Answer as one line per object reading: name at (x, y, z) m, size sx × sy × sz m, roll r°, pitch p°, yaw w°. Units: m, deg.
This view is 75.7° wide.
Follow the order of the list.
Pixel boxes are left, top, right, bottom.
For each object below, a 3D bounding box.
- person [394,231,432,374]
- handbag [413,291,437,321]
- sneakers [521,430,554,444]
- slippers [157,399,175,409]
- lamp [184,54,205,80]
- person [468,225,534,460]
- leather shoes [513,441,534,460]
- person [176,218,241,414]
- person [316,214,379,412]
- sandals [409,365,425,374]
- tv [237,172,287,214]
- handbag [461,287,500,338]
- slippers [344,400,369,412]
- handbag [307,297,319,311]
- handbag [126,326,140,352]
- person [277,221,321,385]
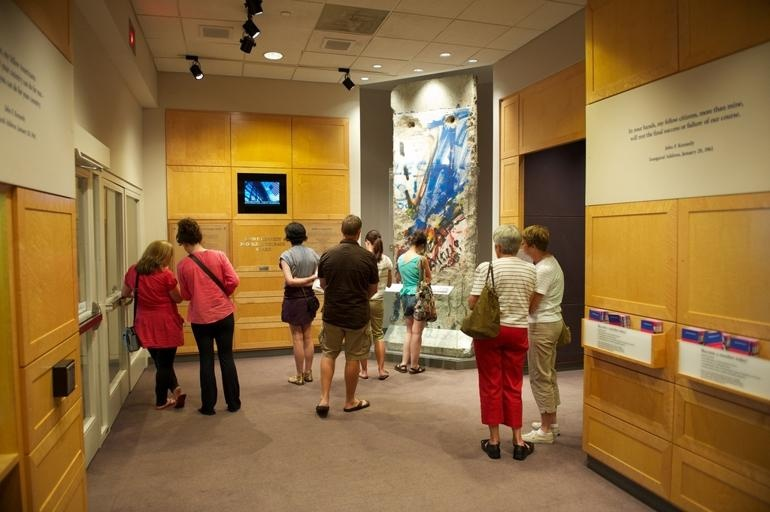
person at (0.381, 0.621, 6.556) m, size 0.355 × 1.916 × 0.584 m, roll -3°, pitch 7°, yaw -23°
handbag at (0.511, 0.605, 6.419) m, size 0.294 × 0.537 × 0.437 m, roll -2°, pitch -2°, yaw 15°
sneakers at (1.430, 1.699, 4.691) m, size 0.295 × 0.124 × 0.123 m, roll 0°, pitch -4°, yaw 2°
slippers at (-2.416, 1.629, 5.456) m, size 0.071 × 0.075 × 0.185 m, roll 3°, pitch 6°, yaw 23°
lamp at (-2.646, -2.569, 6.848) m, size 0.197 × 0.288 × 0.388 m, roll -3°, pitch 7°, yaw -22°
person at (1.042, 0.899, 4.365) m, size 0.627 × 1.755 × 0.375 m, roll 0°, pitch 7°, yaw 1°
leather shoes at (1.225, 1.719, 4.422) m, size 0.093 × 0.111 × 0.255 m, roll -2°, pitch -1°, yaw 27°
person at (-1.856, 0.652, 5.236) m, size 0.592 × 2.080 × 0.368 m, roll -3°, pitch 7°, yaw -23°
person at (-0.413, 0.634, 5.228) m, size 0.657 × 2.084 × 0.308 m, roll -1°, pitch 7°, yaw -5°
sandals at (0.426, 1.531, 6.708) m, size 0.200 × 0.088 × 0.087 m, roll -2°, pitch 1°, yaw -18°
tv at (-1.930, -0.963, 7.611) m, size 0.613 × 0.548 × 0.220 m, roll 0°, pitch -1°, yaw -13°
handbag at (0.810, 0.488, 4.232) m, size 0.213 × 0.456 × 0.335 m, roll -2°, pitch 8°, yaw -39°
slippers at (-0.311, 1.606, 5.375) m, size 0.207 × 0.069 × 0.109 m, roll -5°, pitch 4°, yaw -43°
handbag at (-0.881, 0.582, 5.972) m, size 0.092 × 0.183 × 0.179 m, roll -4°, pitch -2°, yaw 31°
handbag at (-2.655, 0.889, 5.206) m, size 0.129 × 0.303 × 0.315 m, roll -4°, pitch 8°, yaw -28°
person at (-1.046, 0.618, 6.077) m, size 0.443 × 2.018 × 0.665 m, roll -1°, pitch 7°, yaw -9°
